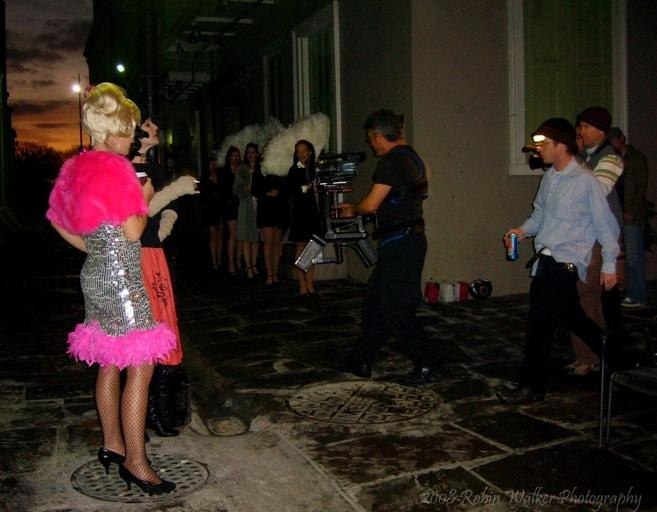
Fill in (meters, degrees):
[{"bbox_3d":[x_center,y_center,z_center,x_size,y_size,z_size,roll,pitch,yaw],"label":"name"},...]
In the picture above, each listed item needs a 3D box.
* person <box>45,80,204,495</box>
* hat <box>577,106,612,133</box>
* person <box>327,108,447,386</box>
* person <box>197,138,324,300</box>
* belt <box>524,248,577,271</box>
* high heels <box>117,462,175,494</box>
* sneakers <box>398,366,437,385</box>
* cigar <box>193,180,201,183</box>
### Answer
[{"bbox_3d":[-1.183,0.189,3.230,0.608,2.293,0.556,-5,10,-24],"label":"person"},{"bbox_3d":[2.414,-1.247,5.342,0.338,0.229,0.274,11,26,13],"label":"hat"},{"bbox_3d":[0.559,-0.072,4.950,0.786,2.344,0.488,2,10,22],"label":"person"},{"bbox_3d":[-0.606,-0.607,8.901,0.729,2.286,1.337,-6,10,-27],"label":"person"},{"bbox_3d":[1.699,0.037,4.485,0.235,0.080,0.227,28,-15,-8],"label":"belt"},{"bbox_3d":[-0.993,1.256,3.283,0.407,0.143,0.130,1,1,-8],"label":"high heels"},{"bbox_3d":[0.740,1.023,4.951,0.383,0.134,0.125,0,5,-6],"label":"sneakers"},{"bbox_3d":[-0.835,-0.475,3.678,0.029,0.007,0.026,-6,38,-10],"label":"cigar"}]
